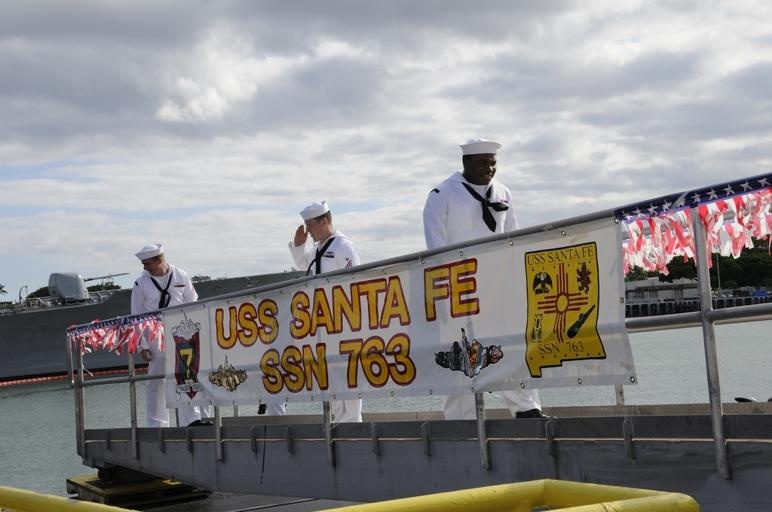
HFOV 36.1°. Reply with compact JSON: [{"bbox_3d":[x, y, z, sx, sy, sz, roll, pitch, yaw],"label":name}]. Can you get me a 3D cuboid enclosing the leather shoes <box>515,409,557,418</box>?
[{"bbox_3d":[1.558,1.663,12.291,0.399,0.148,0.131,-3,-3,8],"label":"leather shoes"}]
